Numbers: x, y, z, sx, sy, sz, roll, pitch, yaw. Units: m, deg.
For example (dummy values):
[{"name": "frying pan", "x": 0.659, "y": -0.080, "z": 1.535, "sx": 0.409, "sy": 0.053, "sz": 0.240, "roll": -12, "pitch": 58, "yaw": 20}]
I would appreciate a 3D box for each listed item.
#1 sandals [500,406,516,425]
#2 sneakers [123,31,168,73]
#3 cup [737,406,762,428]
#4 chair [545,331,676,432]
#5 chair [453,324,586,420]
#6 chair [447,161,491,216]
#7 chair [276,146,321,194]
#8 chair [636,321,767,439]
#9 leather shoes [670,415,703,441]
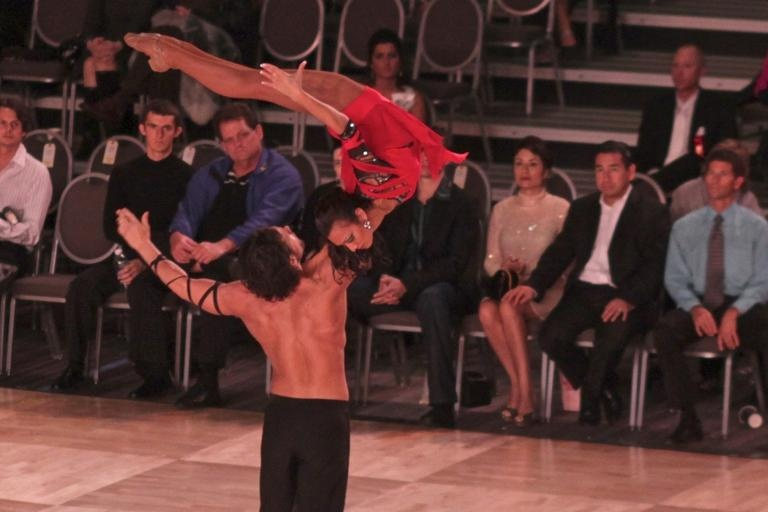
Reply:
[{"name": "sandals", "x": 0.840, "y": 1.075, "z": 6.449, "sx": 0.097, "sy": 0.088, "sz": 0.246, "roll": 1, "pitch": -9, "yaw": 2}, {"name": "sneakers", "x": -1.213, "y": -1.059, "z": 4.921, "sx": 0.220, "sy": 0.145, "sz": 0.243, "roll": 1, "pitch": -1, "yaw": -13}, {"name": "cup", "x": 2.404, "y": 1.060, "z": 6.278, "sx": 0.102, "sy": 0.092, "sz": 0.108, "roll": 31, "pitch": 10, "yaw": -6}, {"name": "chair", "x": 1.512, "y": 0.766, "z": 6.586, "sx": 0.932, "sy": 0.701, "sz": 0.683, "roll": 2, "pitch": 1, "yaw": 24}, {"name": "chair", "x": 0.899, "y": 0.821, "z": 6.587, "sx": 0.985, "sy": 0.604, "sz": 0.702, "roll": 0, "pitch": -2, "yaw": 28}, {"name": "chair", "x": 0.650, "y": -0.494, "z": 6.963, "sx": 0.430, "sy": 0.448, "sz": 0.386, "roll": -4, "pitch": 8, "yaw": 1}, {"name": "chair", "x": -0.630, "y": -0.662, "z": 7.373, "sx": 0.439, "sy": 0.456, "sz": 0.378, "roll": -1, "pitch": 9, "yaw": -6}, {"name": "chair", "x": 2.093, "y": 0.801, "z": 6.464, "sx": 0.943, "sy": 0.715, "sz": 0.716, "roll": 4, "pitch": -6, "yaw": -40}, {"name": "leather shoes", "x": 1.956, "y": 1.111, "z": 6.129, "sx": 0.240, "sy": 0.192, "sz": 0.128, "roll": 1, "pitch": -10, "yaw": 14}]
